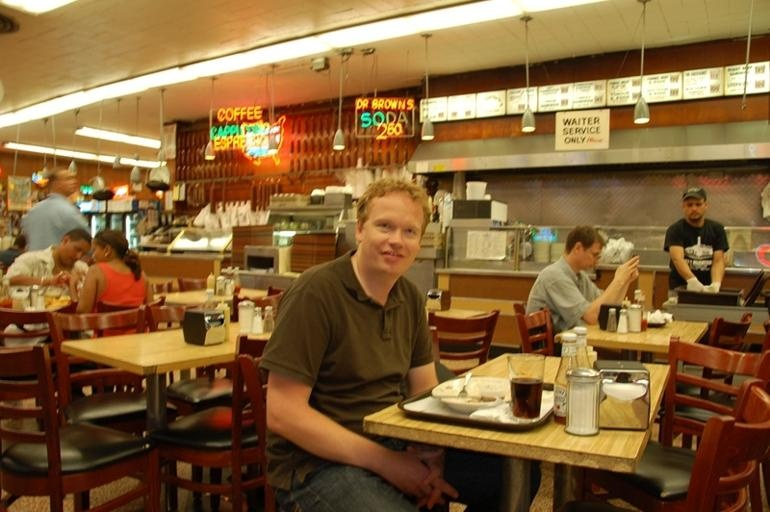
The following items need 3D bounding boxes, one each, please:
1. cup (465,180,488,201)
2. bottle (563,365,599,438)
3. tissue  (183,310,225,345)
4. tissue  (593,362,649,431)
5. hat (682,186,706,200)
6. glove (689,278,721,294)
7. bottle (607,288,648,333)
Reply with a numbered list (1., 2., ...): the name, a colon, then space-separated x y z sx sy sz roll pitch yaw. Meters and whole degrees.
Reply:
1. cup: 1.320 -0.956 9.035 0.293 0.238 0.342 1 -3 -43
2. bottle: 0.944 0.689 2.905 0.167 0.301 0.105 0 6 12
3. tissue : -1.288 0.497 4.375 0.264 0.259 0.254 0 -3 12
4. tissue : 1.174 0.674 3.063 0.238 0.299 0.444 0 1 16
5. hat: 3.439 -0.690 6.792 0.185 0.130 0.295 2 6 37
6. glove: 3.221 0.311 6.214 0.218 0.119 0.300 2 -2 32
7. bottle: 2.033 0.469 5.150 0.298 0.550 0.303 -3 7 0
